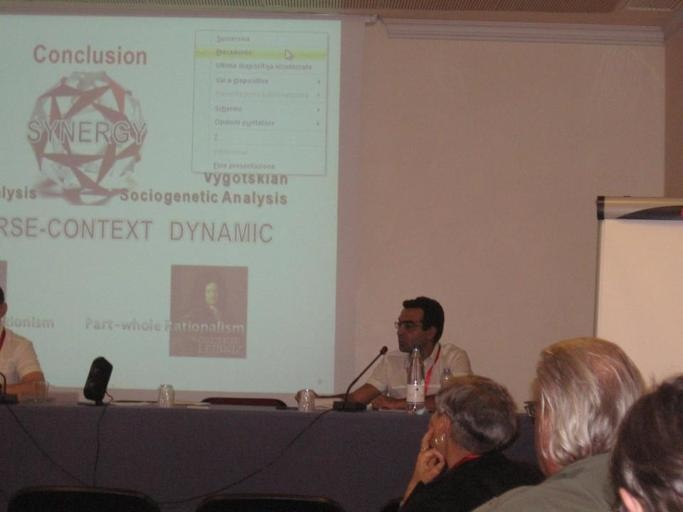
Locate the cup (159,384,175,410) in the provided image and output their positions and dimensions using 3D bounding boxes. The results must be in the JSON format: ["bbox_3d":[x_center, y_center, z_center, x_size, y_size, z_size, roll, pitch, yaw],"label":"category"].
[{"bbox_3d":[-0.786,0.657,3.907,0.089,0.097,0.069,-1,-8,5],"label":"cup"}]

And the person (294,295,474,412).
[{"bbox_3d":[0.366,0.654,4.970,0.759,0.840,1.082,-9,-16,32],"label":"person"}]

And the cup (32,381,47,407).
[{"bbox_3d":[-1.453,0.665,4.142,0.085,0.141,0.088,0,-9,0],"label":"cup"}]

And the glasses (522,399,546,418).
[{"bbox_3d":[0.689,0.547,3.008,0.088,0.031,0.092,3,-14,-2],"label":"glasses"}]
